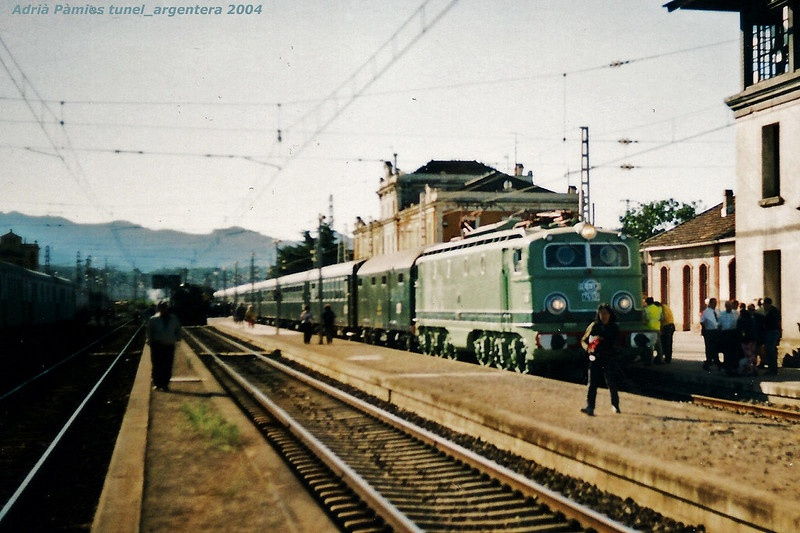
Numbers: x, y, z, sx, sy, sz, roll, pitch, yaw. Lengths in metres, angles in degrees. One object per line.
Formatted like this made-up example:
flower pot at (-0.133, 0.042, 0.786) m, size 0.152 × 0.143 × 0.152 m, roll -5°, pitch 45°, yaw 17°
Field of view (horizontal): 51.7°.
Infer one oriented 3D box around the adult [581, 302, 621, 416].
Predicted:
adult at (4.009, 1.895, 16.826) m, size 0.746 × 2.246 × 0.645 m, roll -2°, pitch -5°, yaw 14°

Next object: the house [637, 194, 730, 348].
house at (11.091, 0.423, 32.456) m, size 3.453 × 7.153 × 2.168 m, roll 8°, pitch -8°, yaw -39°

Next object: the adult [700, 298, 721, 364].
adult at (8.242, 1.805, 22.210) m, size 0.424 × 1.922 × 0.646 m, roll -2°, pitch -5°, yaw 17°

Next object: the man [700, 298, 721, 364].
man at (8.253, 1.808, 22.244) m, size 0.426 × 1.922 × 0.717 m, roll -2°, pitch -5°, yaw 18°

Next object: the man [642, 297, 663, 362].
man at (6.715, 1.700, 22.171) m, size 0.450 × 1.776 × 2.147 m, roll -2°, pitch -5°, yaw 18°

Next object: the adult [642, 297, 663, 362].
adult at (6.714, 1.699, 22.168) m, size 0.450 × 1.776 × 2.139 m, roll -2°, pitch -5°, yaw 18°
